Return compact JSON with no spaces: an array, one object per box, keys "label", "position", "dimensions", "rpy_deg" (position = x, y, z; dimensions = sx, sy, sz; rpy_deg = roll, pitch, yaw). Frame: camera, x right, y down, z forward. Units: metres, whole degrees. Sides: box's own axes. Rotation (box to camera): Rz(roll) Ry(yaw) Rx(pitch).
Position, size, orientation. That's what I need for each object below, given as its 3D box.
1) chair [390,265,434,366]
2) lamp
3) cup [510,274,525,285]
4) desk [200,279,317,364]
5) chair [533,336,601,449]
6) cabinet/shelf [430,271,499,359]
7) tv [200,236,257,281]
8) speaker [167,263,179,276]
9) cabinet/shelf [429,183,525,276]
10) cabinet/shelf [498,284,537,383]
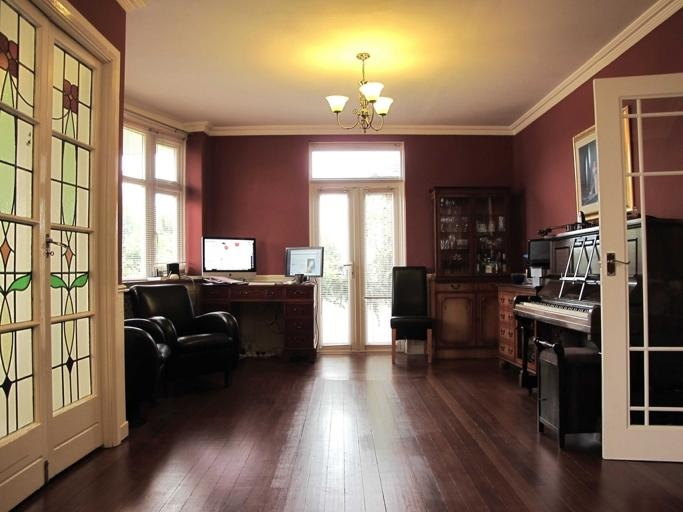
[{"label":"chair","position":[0.906,0.725,6.567],"dimensions":[0.534,1.179,0.769],"rpy_deg":[-1,1,8]},{"label":"lamp","position":[0.177,-1.673,5.235],"dimensions":[0.543,0.895,0.665],"rpy_deg":[-2,11,-14]},{"label":"cup","position":[2.149,0.280,6.188],"dimensions":[0.113,0.096,0.124],"rpy_deg":[0,-10,0]},{"label":"desk","position":[-1.075,0.840,6.646],"dimensions":[1.381,1.112,0.805],"rpy_deg":[-3,8,-12]},{"label":"chair","position":[1.747,1.025,3.881],"dimensions":[0.417,0.704,0.485],"rpy_deg":[1,-3,-1]},{"label":"cabinet/shelf","position":[1.614,0.809,6.591],"dimensions":[0.877,0.969,0.375],"rpy_deg":[0,-5,0]},{"label":"tv","position":[-1.510,0.032,6.651],"dimensions":[0.506,0.442,0.074],"rpy_deg":[0,0,-19]},{"label":"speaker","position":[-2.096,0.173,6.324],"dimensions":[0.125,0.206,0.138],"rpy_deg":[2,-2,-8]},{"label":"cabinet/shelf","position":[1.786,-0.375,6.922],"dimensions":[1.015,1.274,0.406],"rpy_deg":[1,25,19]},{"label":"cabinet/shelf","position":[2.126,0.837,5.889],"dimensions":[0.271,0.885,0.830],"rpy_deg":[-1,0,-13]}]
